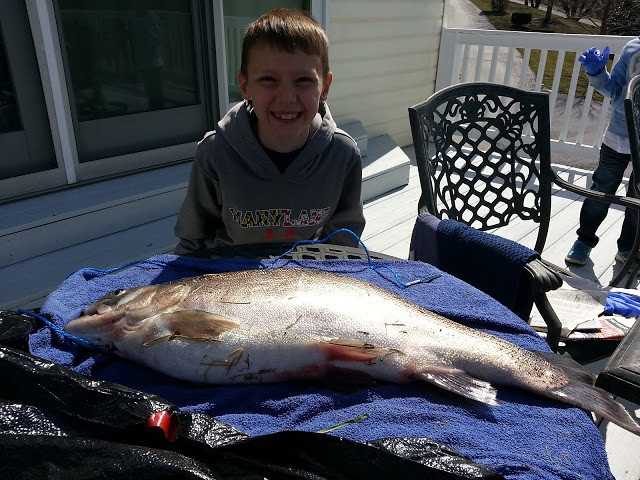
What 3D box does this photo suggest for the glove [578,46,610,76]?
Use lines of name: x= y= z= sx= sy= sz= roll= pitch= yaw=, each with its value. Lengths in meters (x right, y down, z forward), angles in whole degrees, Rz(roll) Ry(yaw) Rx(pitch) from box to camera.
glove: x=1.743 y=-1.182 z=3.028 sx=0.146 sy=0.225 sz=0.235 roll=-11 pitch=39 yaw=34

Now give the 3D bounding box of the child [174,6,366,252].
child: x=-0.187 y=-0.398 z=1.903 sx=0.783 sy=1.031 sz=0.460 roll=4 pitch=22 yaw=4

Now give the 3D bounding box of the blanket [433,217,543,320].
blanket: x=0.581 y=0.126 z=1.681 sx=0.139 sy=0.380 sz=0.386 roll=-24 pitch=42 yaw=-33

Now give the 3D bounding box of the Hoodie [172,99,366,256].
Hoodie: x=-0.214 y=-0.223 z=2.146 sx=0.891 sy=0.846 sz=0.417 roll=-2 pitch=34 yaw=-17

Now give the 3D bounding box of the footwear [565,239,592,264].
footwear: x=1.747 y=0.090 z=3.236 sx=0.094 sy=0.107 sz=0.256 roll=22 pitch=37 yaw=31
